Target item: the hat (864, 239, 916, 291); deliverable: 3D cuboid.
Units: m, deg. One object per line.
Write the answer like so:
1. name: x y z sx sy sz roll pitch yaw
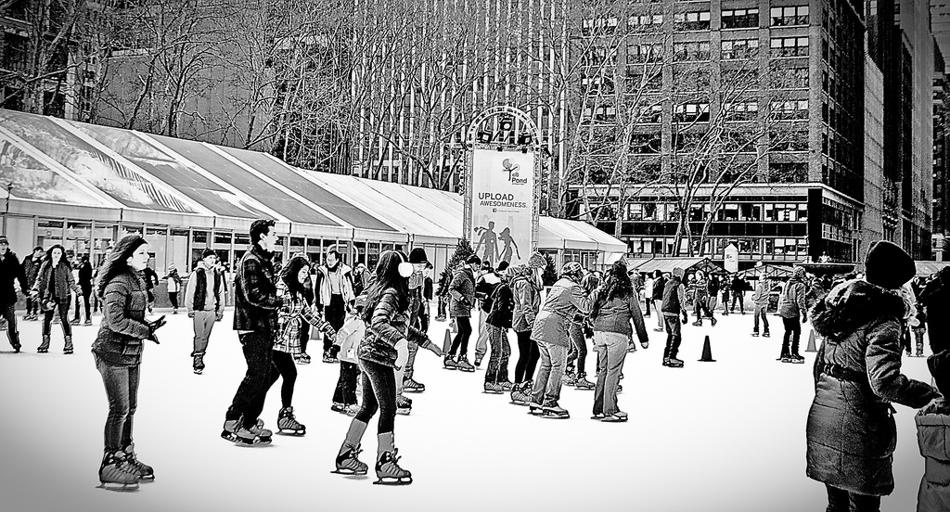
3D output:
1. hat: 5.236 0.094 11.670 0.532 0.656 0.611 2 6 8

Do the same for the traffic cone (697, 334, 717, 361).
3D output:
1. traffic cone: 6.477 2.523 24.890 0.718 0.753 0.685 -2 2 -1

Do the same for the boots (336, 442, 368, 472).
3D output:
1. boots: -1.880 3.072 13.837 0.495 0.485 0.282 3 0 -7

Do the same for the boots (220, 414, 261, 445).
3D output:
1. boots: -3.724 2.887 14.945 0.874 0.583 0.284 1 -2 1
